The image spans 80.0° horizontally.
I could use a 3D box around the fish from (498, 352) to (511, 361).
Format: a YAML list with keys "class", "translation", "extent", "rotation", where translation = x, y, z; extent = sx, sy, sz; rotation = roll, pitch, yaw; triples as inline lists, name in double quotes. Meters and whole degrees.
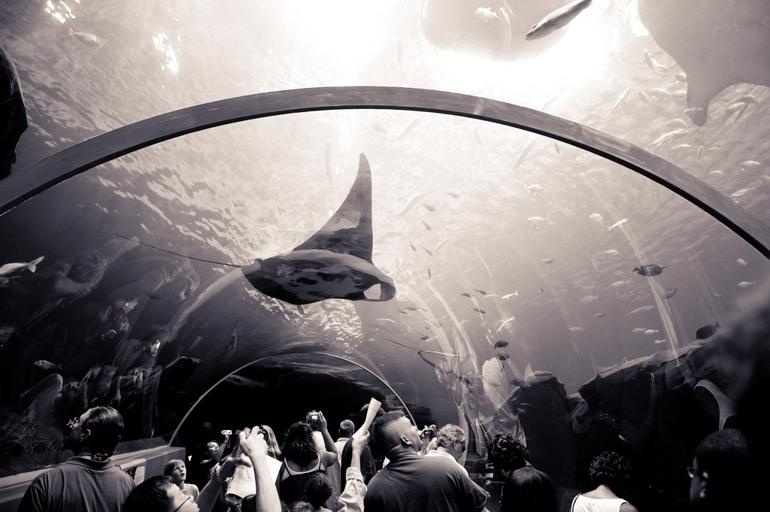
- class: "fish"
  translation: [3.343, 2.825, 12.844]
  extent: [0.258, 0.155, 0.367]
  rotation: [17, -37, -20]

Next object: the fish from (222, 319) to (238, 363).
- class: "fish"
  translation: [-4.327, 2.442, 12.918]
  extent: [0.510, 0.038, 1.587]
  rotation: [-19, -29, -43]

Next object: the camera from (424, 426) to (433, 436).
- class: "camera"
  translation: [0.997, 3.971, 10.367]
  extent: [0.190, 0.113, 0.265]
  rotation: [1, -23, 5]

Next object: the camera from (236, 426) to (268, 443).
- class: "camera"
  translation: [-1.708, 2.273, 5.960]
  extent: [0.286, 0.195, 0.483]
  rotation: [1, -34, 2]

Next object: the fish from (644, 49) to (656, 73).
- class: "fish"
  translation: [4.609, -3.384, 7.942]
  extent: [0.131, 0.126, 0.517]
  rotation: [7, -27, 31]

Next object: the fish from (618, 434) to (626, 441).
- class: "fish"
  translation: [5.902, 4.529, 11.366]
  extent: [0.076, 0.258, 0.054]
  rotation: [-12, -75, 6]

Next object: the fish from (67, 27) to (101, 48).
- class: "fish"
  translation: [-4.926, -3.605, 7.567]
  extent: [0.360, 0.082, 0.204]
  rotation: [11, -47, -30]

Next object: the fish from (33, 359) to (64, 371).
- class: "fish"
  translation: [-6.827, 2.245, 9.313]
  extent: [0.126, 0.191, 0.572]
  rotation: [-9, -36, 17]
